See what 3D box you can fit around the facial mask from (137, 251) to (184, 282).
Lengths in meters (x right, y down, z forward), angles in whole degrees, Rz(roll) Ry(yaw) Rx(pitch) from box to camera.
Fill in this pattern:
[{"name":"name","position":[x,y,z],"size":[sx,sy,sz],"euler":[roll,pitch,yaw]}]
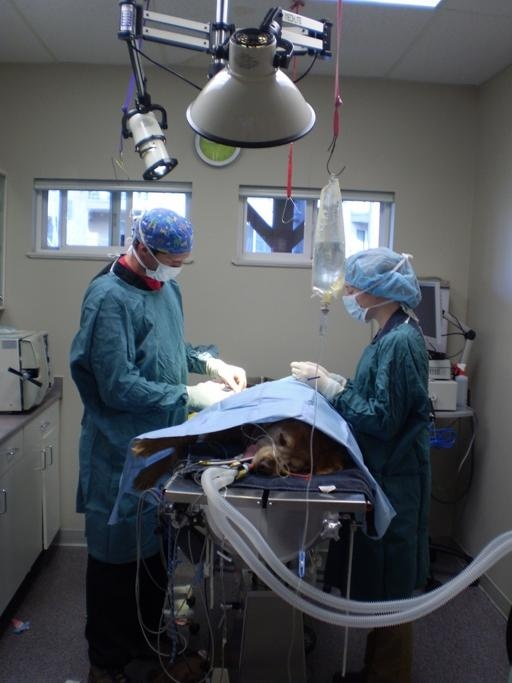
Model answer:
[{"name":"facial mask","position":[-0.320,-0.230,1.985],"size":[0.040,0.091,0.085],"euler":[-39,8,5]}]

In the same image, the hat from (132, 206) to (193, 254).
[{"name":"hat","position":[-0.277,-0.335,1.896],"size":[0.127,0.108,0.170],"euler":[3,42,-18]}]

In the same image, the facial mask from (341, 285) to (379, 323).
[{"name":"facial mask","position":[0.349,-0.131,2.094],"size":[0.096,0.072,0.111],"euler":[38,31,23]}]

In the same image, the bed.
[{"name":"bed","position":[0.129,0.498,1.488],"size":[0.689,0.401,0.268],"euler":[2,7,-7]}]
